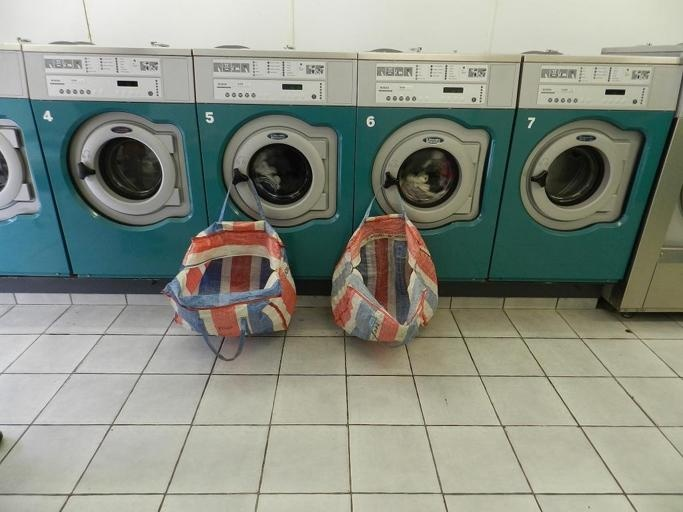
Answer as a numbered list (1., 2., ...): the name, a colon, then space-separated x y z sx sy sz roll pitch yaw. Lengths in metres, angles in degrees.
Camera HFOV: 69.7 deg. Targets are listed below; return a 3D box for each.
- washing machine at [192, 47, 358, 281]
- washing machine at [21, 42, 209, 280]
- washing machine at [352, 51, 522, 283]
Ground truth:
1. washing machine: -0.382 -0.507 2.816 0.817 1.175 0.731 -5 27 -17
2. washing machine: -1.152 -0.534 2.747 0.785 1.210 0.686 1 27 -9
3. washing machine: 0.470 -0.568 2.865 0.767 1.294 0.724 1 37 7
